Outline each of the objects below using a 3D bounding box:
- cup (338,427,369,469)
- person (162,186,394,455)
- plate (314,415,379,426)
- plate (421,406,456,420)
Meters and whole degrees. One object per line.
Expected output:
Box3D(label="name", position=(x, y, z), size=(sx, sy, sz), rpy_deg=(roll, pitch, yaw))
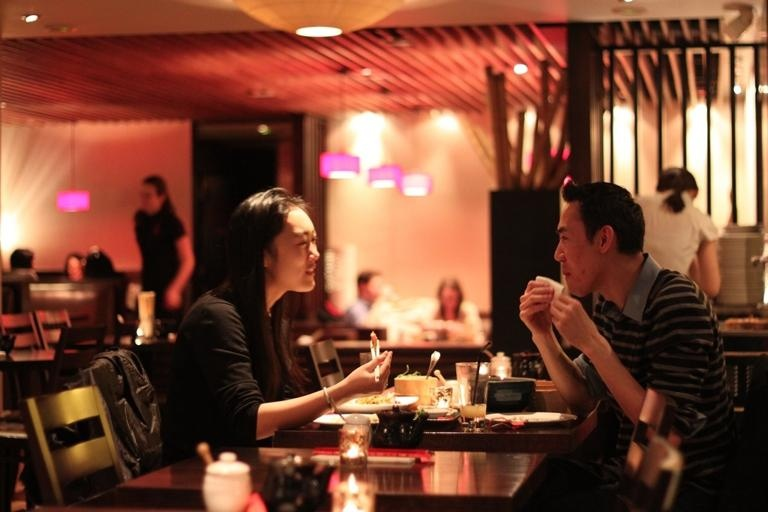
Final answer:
Box3D(label="cup", position=(-0.089, 0.589, 2.082), size=(0.106, 0.114, 0.105), rpy_deg=(1, -9, 0))
Box3D(label="person", position=(-0.543, 0.287, 3.511), size=(1.151, 1.939, 0.968), rpy_deg=(-2, -2, -2))
Box3D(label="plate", position=(-0.148, 0.608, 2.514), size=(0.140, 0.019, 0.144), rpy_deg=(-1, -2, 28))
Box3D(label="plate", position=(0.231, 0.650, 2.816), size=(0.104, 0.012, 0.112), rpy_deg=(0, -1, 13))
